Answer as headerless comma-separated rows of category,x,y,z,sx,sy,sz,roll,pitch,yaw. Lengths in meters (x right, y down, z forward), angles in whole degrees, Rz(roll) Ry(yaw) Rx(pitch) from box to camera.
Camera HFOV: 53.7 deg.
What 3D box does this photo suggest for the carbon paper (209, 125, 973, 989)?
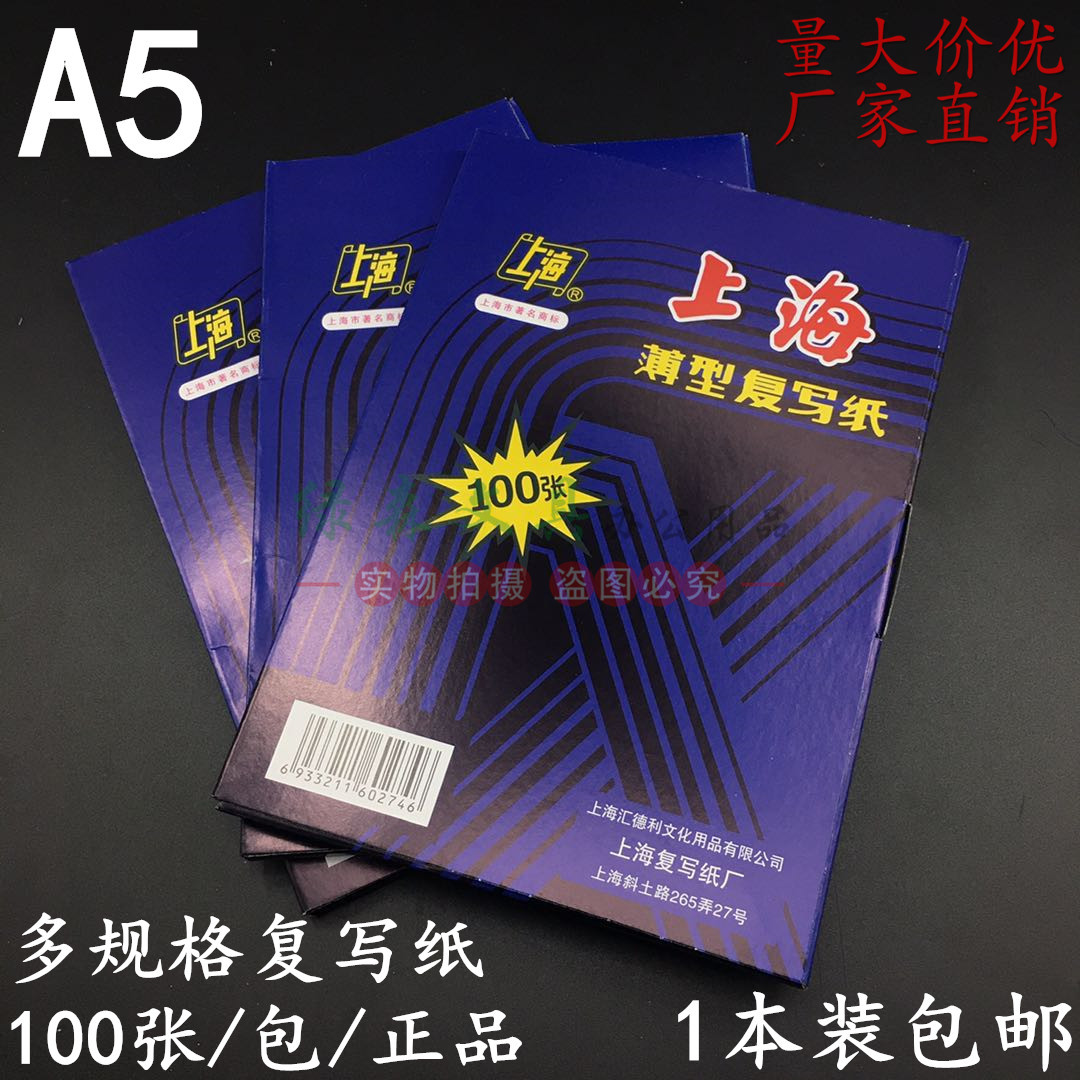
carbon paper,0.066,-0.030,1.048,0.573,0.233,0.736,16,61,7
